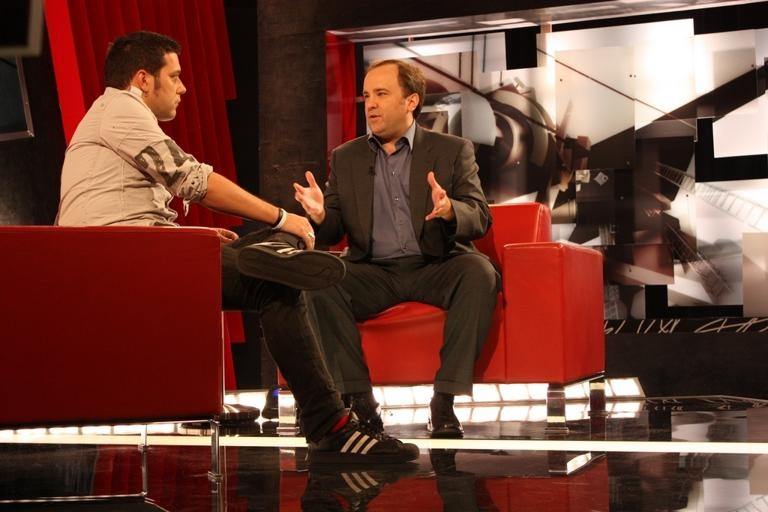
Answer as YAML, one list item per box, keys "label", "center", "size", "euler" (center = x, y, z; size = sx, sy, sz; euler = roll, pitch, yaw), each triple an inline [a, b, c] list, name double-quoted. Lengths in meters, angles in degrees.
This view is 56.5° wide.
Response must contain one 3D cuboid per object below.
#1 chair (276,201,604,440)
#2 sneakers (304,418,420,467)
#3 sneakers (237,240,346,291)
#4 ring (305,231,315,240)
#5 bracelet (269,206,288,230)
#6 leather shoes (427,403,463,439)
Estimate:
- label: "chair"
  center: [0.315, 0.329, 3.428]
  size: [1.374, 1.127, 0.980]
  euler: [-4, -6, 32]
- label: "sneakers"
  center: [-0.078, 0.712, 2.744]
  size: [0.472, 0.212, 0.160]
  euler: [0, -4, -4]
- label: "sneakers"
  center: [-0.311, 0.038, 2.609]
  size: [0.398, 0.156, 0.269]
  euler: [8, 1, 4]
- label: "ring"
  center: [-0.284, -0.077, 2.736]
  size: [0.036, 0.018, 0.051]
  euler: [1, 0, -1]
- label: "bracelet"
  center: [-0.384, -0.142, 2.687]
  size: [0.027, 0.071, 0.063]
  euler: [32, -27, -4]
- label: "leather shoes"
  center: [0.256, 0.694, 3.015]
  size: [0.141, 0.164, 0.098]
  euler: [-2, -2, 12]
